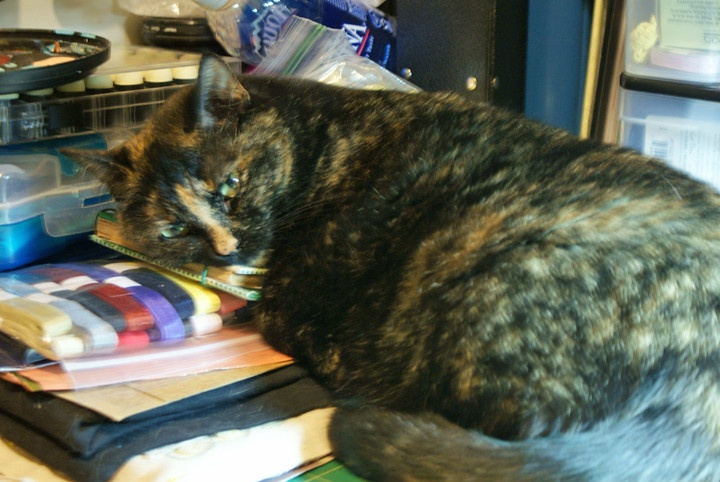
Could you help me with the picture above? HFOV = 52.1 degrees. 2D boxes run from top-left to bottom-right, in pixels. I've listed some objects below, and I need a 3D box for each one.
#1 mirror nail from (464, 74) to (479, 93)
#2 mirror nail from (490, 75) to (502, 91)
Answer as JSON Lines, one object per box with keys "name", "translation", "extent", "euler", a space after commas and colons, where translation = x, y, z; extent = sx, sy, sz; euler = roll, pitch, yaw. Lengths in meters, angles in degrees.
{"name": "mirror nail", "translation": [0.287, -0.406, 1.896], "extent": [0.037, 0.033, 0.020], "euler": [-4, 0, 17]}
{"name": "mirror nail", "translation": [0.353, -0.414, 1.921], "extent": [0.009, 0.036, 0.044], "euler": [6, 4, 33]}
